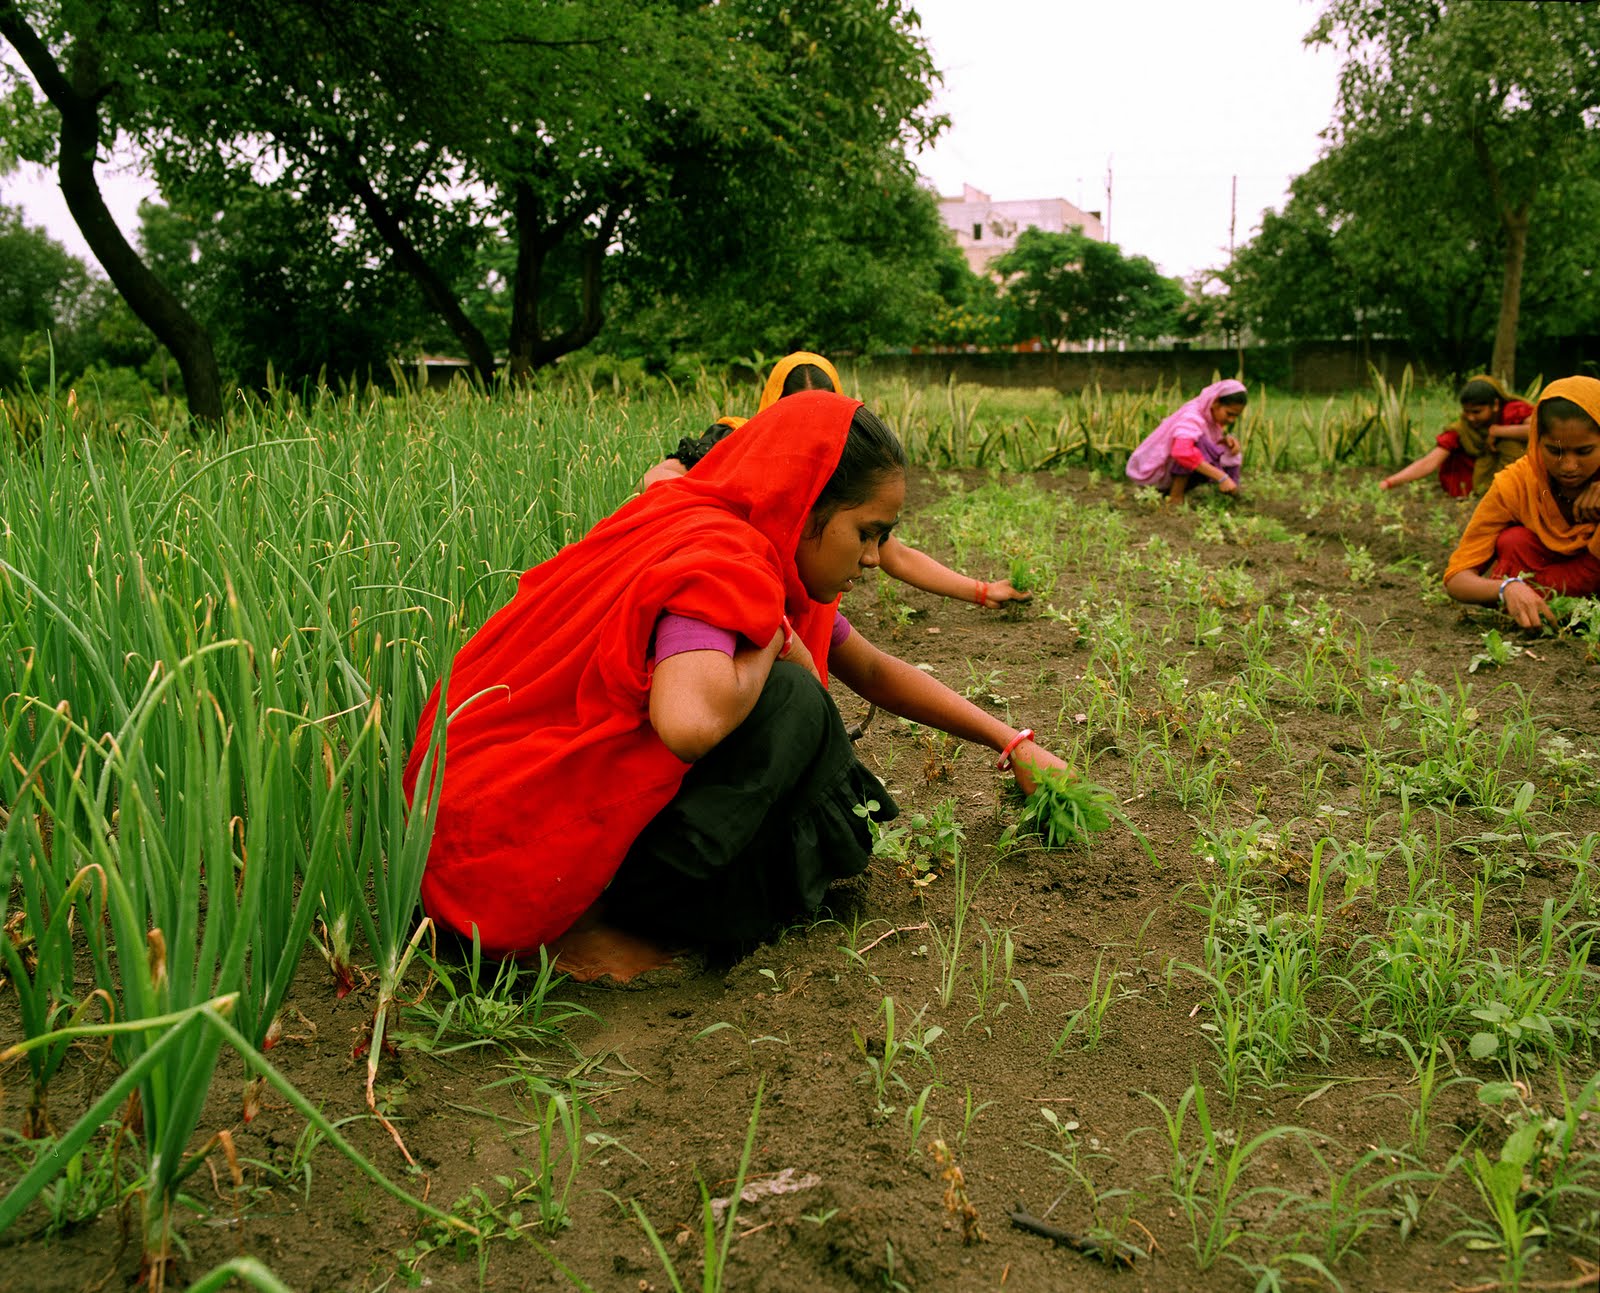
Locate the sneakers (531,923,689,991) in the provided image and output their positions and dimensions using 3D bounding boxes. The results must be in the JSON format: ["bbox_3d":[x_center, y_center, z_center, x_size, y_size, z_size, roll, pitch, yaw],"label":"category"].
[{"bbox_3d":[-0.376,0.604,2.929,0.247,0.196,0.101,2,56,3],"label":"sneakers"}]

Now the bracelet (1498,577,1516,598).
[{"bbox_3d":[2.255,-0.187,4.797,0.012,0.051,0.049,21,9,7],"label":"bracelet"}]

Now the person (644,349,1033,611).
[{"bbox_3d":[0.240,-0.398,4.381,1.073,0.516,0.683,-22,37,-39],"label":"person"}]

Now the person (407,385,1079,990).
[{"bbox_3d":[-0.194,-0.004,3.058,1.145,1.109,0.783,1,23,-16],"label":"person"}]

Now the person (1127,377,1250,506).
[{"bbox_3d":[2.044,-1.078,7.867,0.593,0.585,0.754,0,12,8],"label":"person"}]

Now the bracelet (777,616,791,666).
[{"bbox_3d":[-0.026,-0.008,2.890,0.037,0.049,0.053,-4,39,-9],"label":"bracelet"}]
